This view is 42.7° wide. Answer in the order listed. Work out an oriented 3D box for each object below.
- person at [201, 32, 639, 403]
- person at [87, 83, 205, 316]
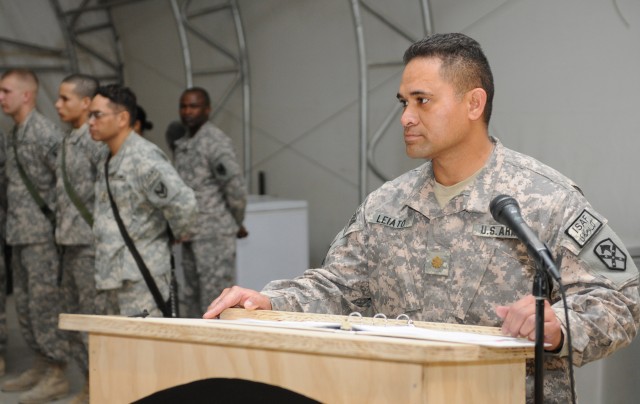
[{"bbox_3d":[0.593,-0.018,3.718,1.576,1.465,0.401,-1,-9,11],"label":"person"},{"bbox_3d":[-1.100,-0.013,5.046,0.674,1.401,0.298,3,-9,-10],"label":"person"}]
